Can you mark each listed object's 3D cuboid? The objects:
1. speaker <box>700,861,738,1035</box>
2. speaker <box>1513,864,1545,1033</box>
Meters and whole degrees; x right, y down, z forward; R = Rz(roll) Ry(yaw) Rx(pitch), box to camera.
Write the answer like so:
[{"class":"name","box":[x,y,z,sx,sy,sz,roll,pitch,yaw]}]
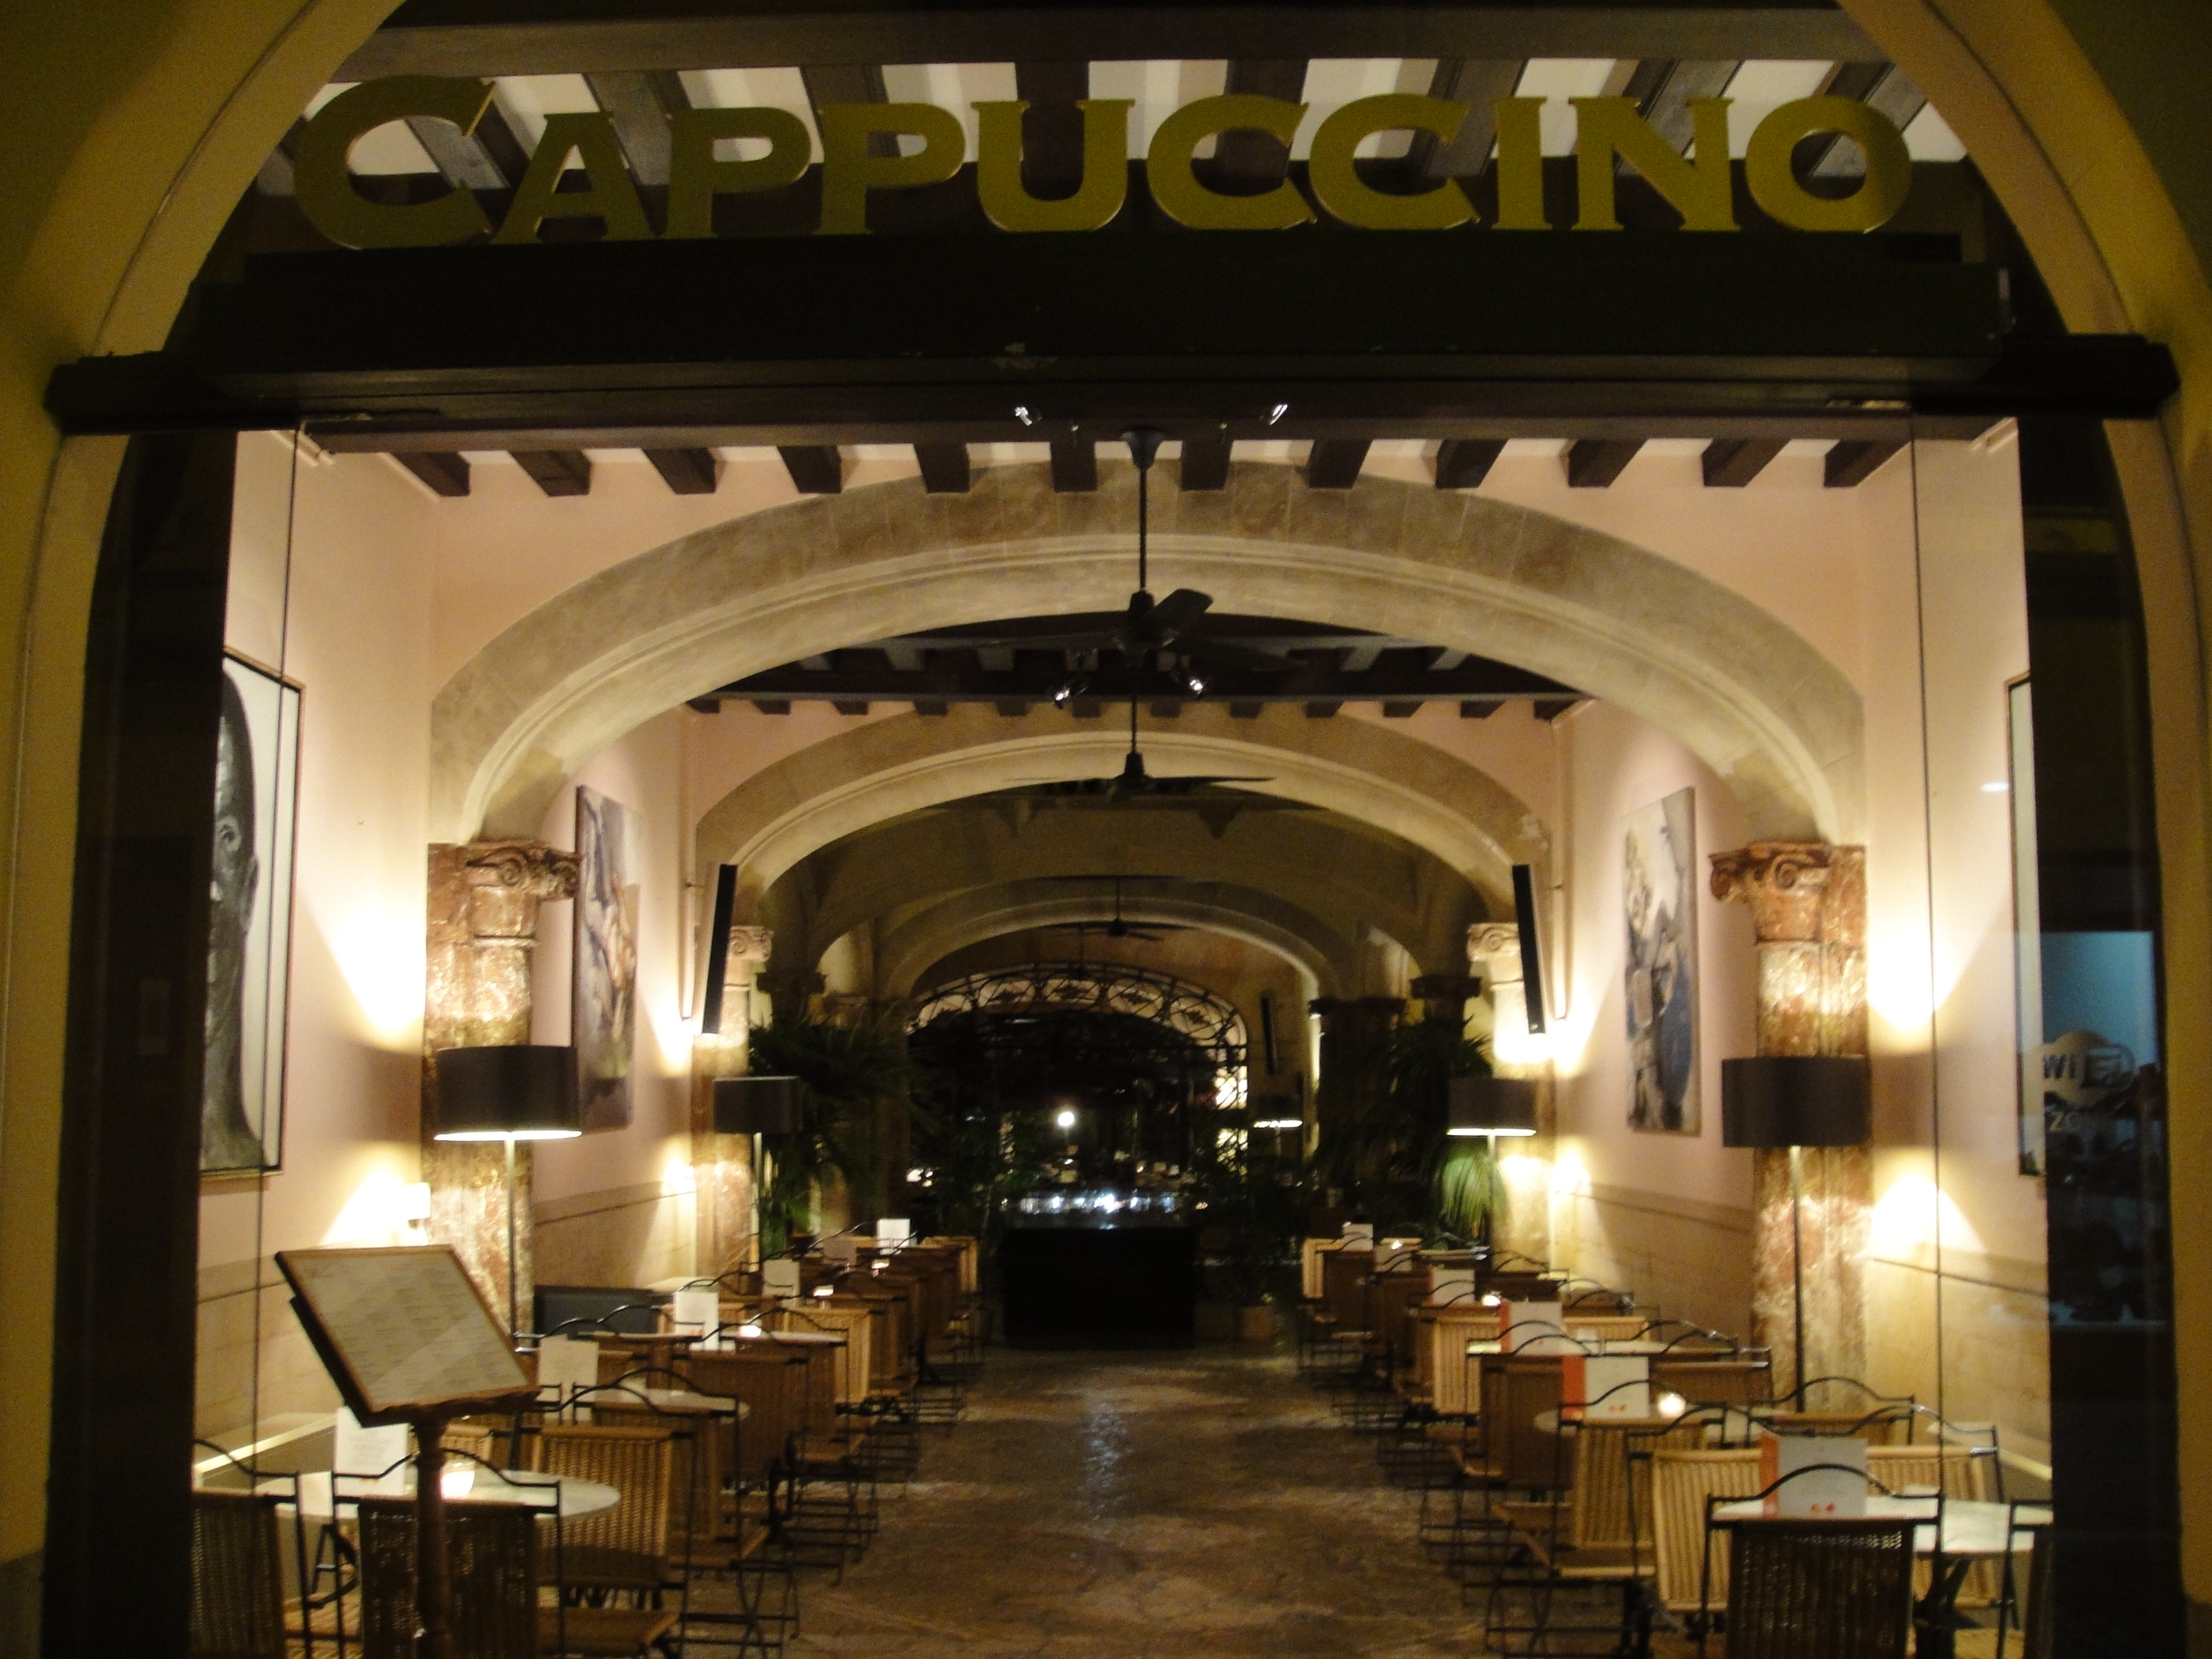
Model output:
[{"class":"speaker","box":[-3.214,1.015,16.772,0.242,1.441,0.393,-2,-8,15]},{"class":"speaker","box":[3.591,1.001,16.933,0.237,1.418,0.386,-2,-8,17]}]
